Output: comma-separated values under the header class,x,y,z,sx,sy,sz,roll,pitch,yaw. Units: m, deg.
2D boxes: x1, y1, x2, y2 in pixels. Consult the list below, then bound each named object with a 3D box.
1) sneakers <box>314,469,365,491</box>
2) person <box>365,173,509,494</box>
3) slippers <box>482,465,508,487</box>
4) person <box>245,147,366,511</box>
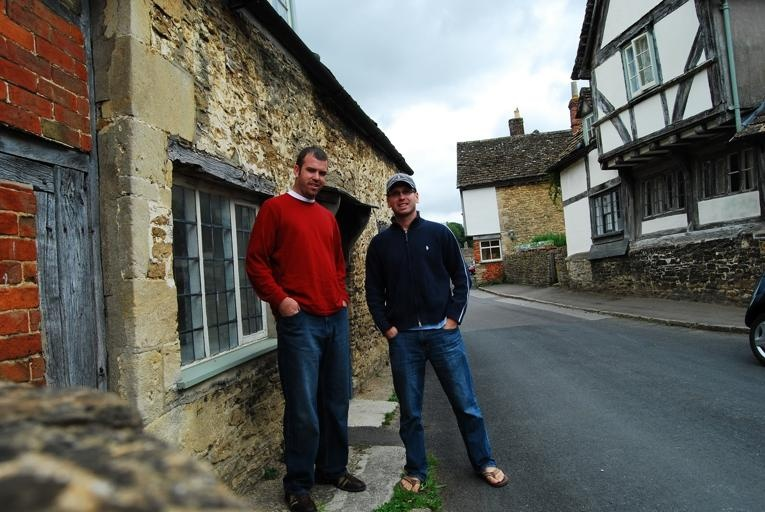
class,x,y,z,sx,sy,sz,roll,pitch,yaw
sneakers,-0.383,1.974,4.234,0.418,0.183,0.164,4,-3,11
person,0.415,0.625,4.358,1.121,1.961,0.618,-4,2,-1
slippers,0.987,1.936,4.214,0.245,0.095,0.197,-4,2,4
person,-0.630,0.553,4.071,0.875,2.530,0.513,-6,3,-42
